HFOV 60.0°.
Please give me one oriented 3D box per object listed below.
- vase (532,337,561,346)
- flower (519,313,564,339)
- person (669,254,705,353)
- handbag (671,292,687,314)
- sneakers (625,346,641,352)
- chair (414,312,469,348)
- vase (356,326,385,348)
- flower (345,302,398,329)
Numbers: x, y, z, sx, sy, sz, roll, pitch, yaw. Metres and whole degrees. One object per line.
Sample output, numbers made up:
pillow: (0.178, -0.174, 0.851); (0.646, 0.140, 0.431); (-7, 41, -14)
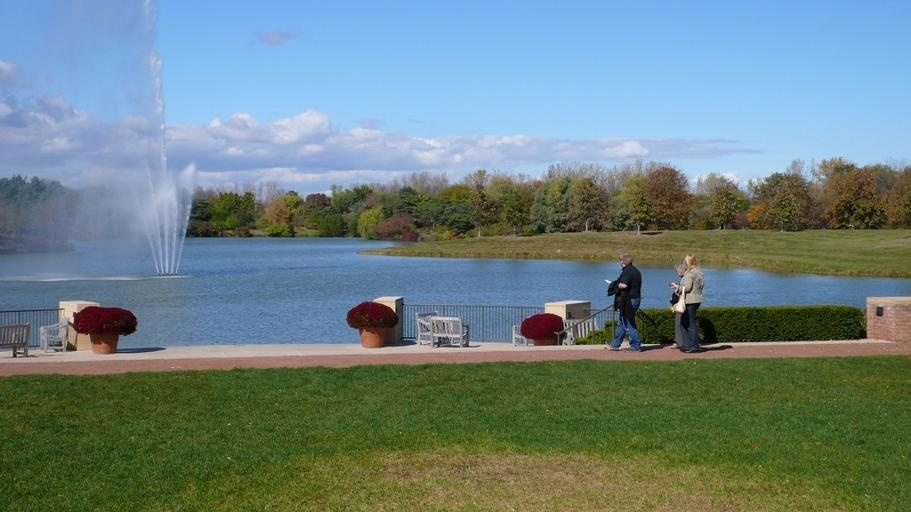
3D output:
vase: (3.794, 3.608, 32.825); (0.587, 0.356, 0.536); (1, 1, -17)
flower: (3.556, 3.008, 32.901); (1.394, 0.637, 1.267); (0, -3, -4)
person: (8.340, 1.769, 28.439); (0.957, 3.492, 0.744); (0, 3, 18)
handbag: (8.033, 1.764, 28.482); (0.245, 0.651, 0.500); (-2, 3, -20)
sneakers: (6.487, 3.428, 28.597); (0.471, 0.152, 0.193); (4, -2, -11)
chair: (-0.646, 3.193, 33.024); (2.014, 1.108, 0.791); (2, 10, 25)
vase: (-3.388, 3.286, 31.455); (0.932, 0.554, 0.915); (-3, -4, 35)
flower: (-3.270, 2.432, 31.191); (1.500, 0.698, 1.294); (1, -3, 20)
